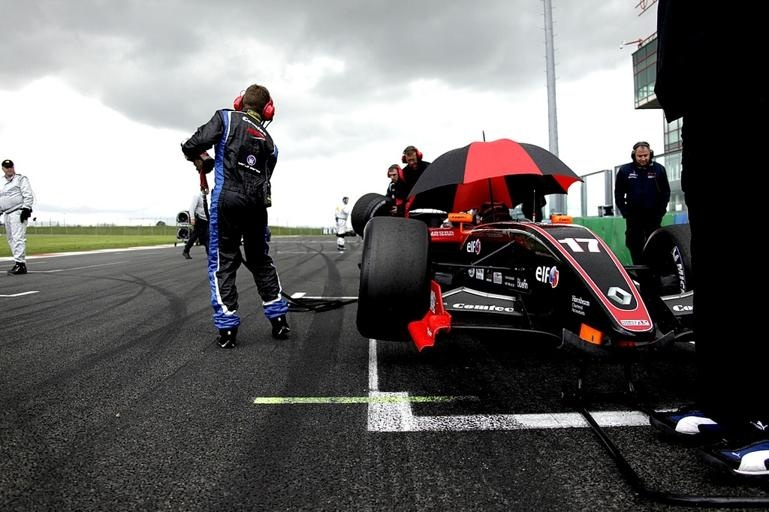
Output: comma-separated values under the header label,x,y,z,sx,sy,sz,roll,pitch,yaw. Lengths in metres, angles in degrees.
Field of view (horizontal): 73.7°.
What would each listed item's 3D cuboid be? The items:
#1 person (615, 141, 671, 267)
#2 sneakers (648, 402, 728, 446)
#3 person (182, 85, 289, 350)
label,x,y,z,sx,sy,sz,roll,pitch,yaw
person,3.235,-0.626,6.394,0.712,1.988,0.729,0,1,8
sneakers,1.663,0.929,2.816,0.329,0.119,0.190,2,10,45
person,-1.442,-0.400,4.950,0.940,2.483,0.839,1,-3,-26
